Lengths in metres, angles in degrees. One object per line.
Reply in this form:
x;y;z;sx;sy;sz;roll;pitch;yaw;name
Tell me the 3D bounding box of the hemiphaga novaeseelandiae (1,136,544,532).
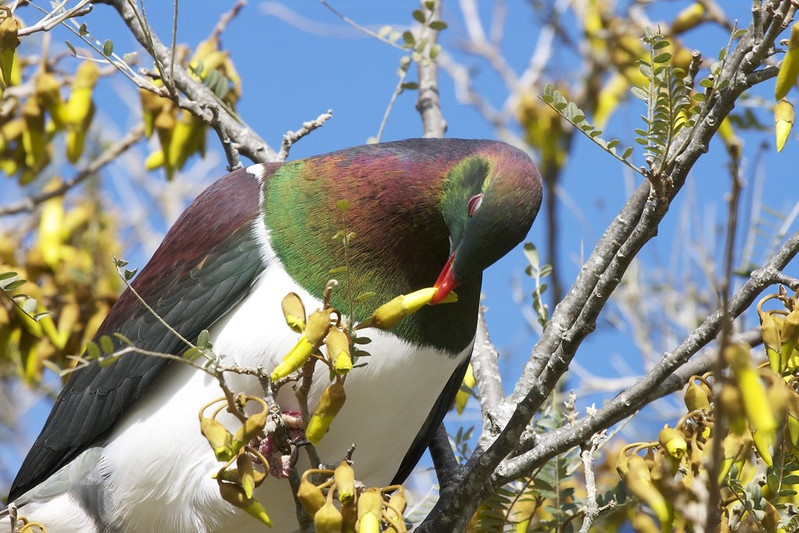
-0.426;0.145;5.143;1.654;1.701;2.851;-1;0;-3;hemiphaga novaeseelandiae
